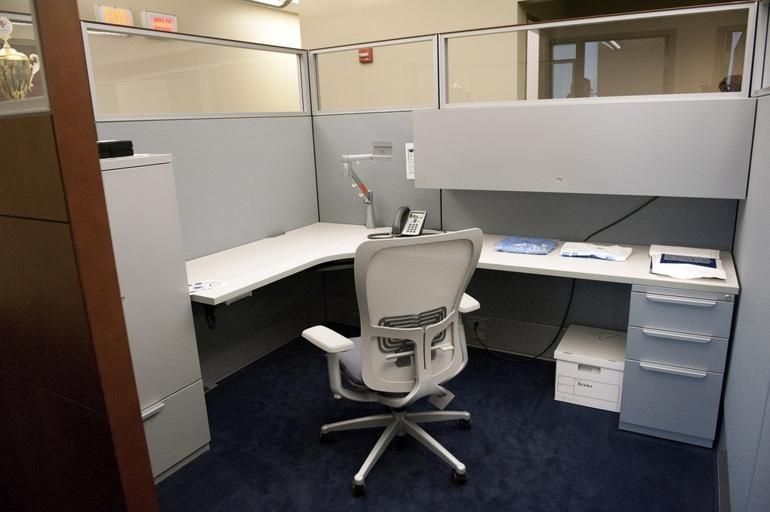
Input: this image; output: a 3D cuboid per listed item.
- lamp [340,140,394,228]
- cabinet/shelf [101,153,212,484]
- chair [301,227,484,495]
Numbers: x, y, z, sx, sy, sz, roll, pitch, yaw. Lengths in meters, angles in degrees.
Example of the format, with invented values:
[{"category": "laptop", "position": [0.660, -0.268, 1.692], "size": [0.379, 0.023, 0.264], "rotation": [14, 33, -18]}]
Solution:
[{"category": "lamp", "position": [-0.110, -0.489, 3.742], "size": [0.333, 0.588, 0.370], "rotation": [-1, 20, 0]}, {"category": "cabinet/shelf", "position": [-1.089, 0.291, 2.610], "size": [0.402, 1.513, 0.271], "rotation": [-17, 26, -38]}, {"category": "chair", "position": [0.076, 0.443, 2.756], "size": [0.900, 1.240, 0.828], "rotation": [-8, 17, -26]}]
